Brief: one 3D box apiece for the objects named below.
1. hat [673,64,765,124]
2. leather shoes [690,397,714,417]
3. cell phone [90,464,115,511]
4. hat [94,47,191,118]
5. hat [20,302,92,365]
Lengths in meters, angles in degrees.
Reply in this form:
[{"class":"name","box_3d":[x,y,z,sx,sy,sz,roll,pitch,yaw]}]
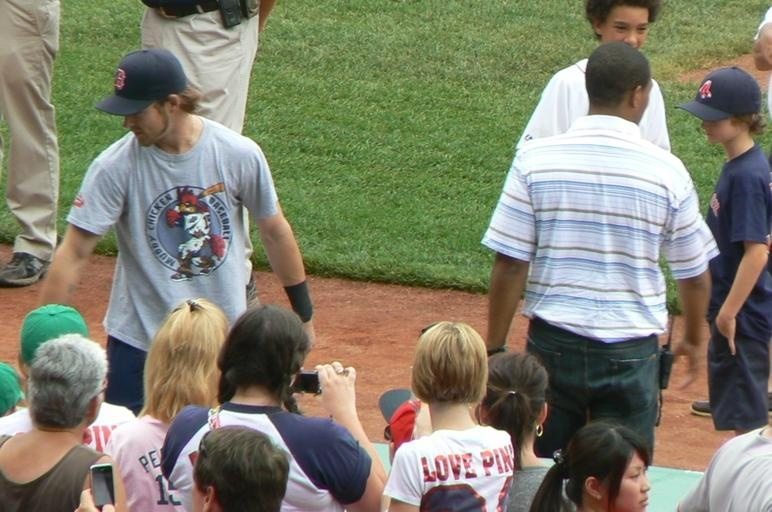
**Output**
[{"class":"hat","box_3d":[2.282,-1.096,8.756,0.560,0.240,0.349,-2,21,-7]},{"class":"leather shoes","box_3d":[2.423,1.158,9.776,0.255,0.094,0.093,8,12,36]},{"class":"cell phone","box_3d":[-1.513,1.226,6.766,0.118,0.231,0.105,2,10,-20]},{"class":"hat","box_3d":[-1.500,-1.071,7.786,0.579,0.261,0.374,-24,35,-33]},{"class":"hat","box_3d":[-1.990,0.430,7.581,0.337,0.231,0.413,2,30,-3]}]
